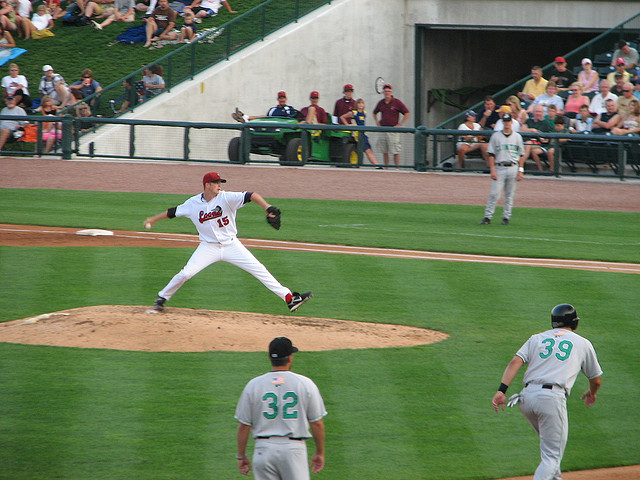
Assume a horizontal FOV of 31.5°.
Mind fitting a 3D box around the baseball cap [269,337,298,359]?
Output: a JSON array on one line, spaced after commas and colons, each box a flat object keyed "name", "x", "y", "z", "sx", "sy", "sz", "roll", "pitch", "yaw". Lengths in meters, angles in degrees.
[{"name": "baseball cap", "x": -0.427, "y": 1.208, "z": 12.549, "sx": 0.250, "sy": 0.125, "sz": 0.314, "roll": 4, "pitch": 12, "yaw": 21}]

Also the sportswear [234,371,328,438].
[{"name": "sportswear", "x": -0.448, "y": 1.843, "z": 12.530, "sx": 0.973, "sy": 0.742, "sz": 0.173, "roll": 1, "pitch": 5, "yaw": -2}]

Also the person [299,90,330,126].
[{"name": "person", "x": -0.177, "y": -3.449, "z": 29.669, "sx": 0.774, "sy": 0.889, "sz": 1.486, "roll": 1, "pitch": 4, "yaw": -1}]

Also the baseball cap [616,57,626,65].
[{"name": "baseball cap", "x": 7.349, "y": -4.403, "z": 27.954, "sx": 0.193, "sy": 0.176, "sz": 0.473, "roll": 2, "pitch": 4, "yaw": 13}]

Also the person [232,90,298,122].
[{"name": "person", "x": -1.813, "y": -3.483, "z": 30.067, "sx": 2.394, "sy": 0.816, "sz": 1.000, "roll": 2, "pitch": 17, "yaw": -3}]

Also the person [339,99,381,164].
[{"name": "person", "x": 1.041, "y": -2.790, "z": 29.399, "sx": 0.839, "sy": 1.679, "sz": 1.422, "roll": 0, "pitch": 4, "yaw": -7}]

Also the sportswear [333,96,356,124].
[{"name": "sportswear", "x": 0.578, "y": -3.427, "z": 30.246, "sx": 0.625, "sy": 0.673, "sz": 0.375, "roll": 2, "pitch": 5, "yaw": 17}]

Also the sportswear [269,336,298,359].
[{"name": "sportswear", "x": -0.399, "y": 1.203, "z": 12.591, "sx": 0.245, "sy": 0.132, "sz": 0.315, "roll": 4, "pitch": 14, "yaw": 20}]

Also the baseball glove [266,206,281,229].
[{"name": "baseball glove", "x": -0.672, "y": -0.316, "z": 16.437, "sx": 0.225, "sy": 0.297, "sz": 0.148, "roll": -11, "pitch": 21, "yaw": 14}]

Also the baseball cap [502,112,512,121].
[{"name": "baseball cap", "x": 3.591, "y": -2.388, "z": 22.005, "sx": 0.170, "sy": 0.159, "sz": 0.250, "roll": 1, "pitch": 4, "yaw": 7}]

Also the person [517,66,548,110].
[{"name": "person", "x": 5.308, "y": -3.804, "z": 28.450, "sx": 0.683, "sy": 1.108, "sz": 0.967, "roll": 2, "pitch": 5, "yaw": 8}]

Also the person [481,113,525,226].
[{"name": "person", "x": 3.626, "y": -1.406, "z": 22.426, "sx": 0.739, "sy": 2.175, "sz": 0.913, "roll": 2, "pitch": 5, "yaw": 7}]

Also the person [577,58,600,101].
[{"name": "person", "x": 6.624, "y": -3.993, "z": 28.234, "sx": 0.523, "sy": 1.136, "sz": 1.468, "roll": 2, "pitch": 4, "yaw": 12}]

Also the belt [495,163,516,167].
[{"name": "belt", "x": 3.533, "y": -1.458, "z": 22.166, "sx": 0.316, "sy": 0.073, "sz": 0.052, "roll": 2, "pitch": 5, "yaw": 23}]

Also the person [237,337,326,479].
[{"name": "person", "x": -0.444, "y": 1.902, "z": 12.585, "sx": 0.960, "sy": 1.593, "sz": 0.371, "roll": 1, "pitch": 5, "yaw": -2}]

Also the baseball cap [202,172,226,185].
[{"name": "baseball cap", "x": -1.600, "y": -0.907, "z": 16.716, "sx": 0.369, "sy": 0.116, "sz": 0.193, "roll": 3, "pitch": 7, "yaw": 8}]

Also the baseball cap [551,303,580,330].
[{"name": "baseball cap", "x": 2.856, "y": 0.926, "z": 13.480, "sx": 0.350, "sy": 0.227, "sz": 0.364, "roll": -2, "pitch": -10, "yaw": 18}]

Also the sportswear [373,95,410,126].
[{"name": "sportswear", "x": 1.848, "y": -3.421, "z": 29.979, "sx": 1.246, "sy": 0.721, "sz": 0.489, "roll": 7, "pitch": 23, "yaw": 41}]
